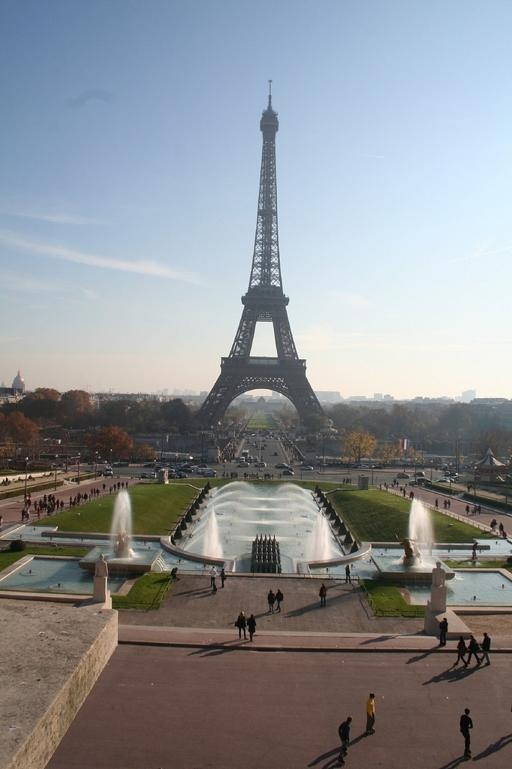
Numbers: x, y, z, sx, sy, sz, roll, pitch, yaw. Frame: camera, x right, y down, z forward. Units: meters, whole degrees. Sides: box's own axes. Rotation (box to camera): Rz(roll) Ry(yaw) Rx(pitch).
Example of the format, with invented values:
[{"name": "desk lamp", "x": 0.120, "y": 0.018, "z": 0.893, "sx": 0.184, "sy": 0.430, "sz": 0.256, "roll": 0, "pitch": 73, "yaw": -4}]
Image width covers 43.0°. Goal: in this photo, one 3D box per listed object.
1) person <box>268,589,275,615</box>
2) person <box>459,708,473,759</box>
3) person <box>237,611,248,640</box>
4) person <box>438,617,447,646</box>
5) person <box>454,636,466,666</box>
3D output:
[{"name": "person", "x": 0.530, "y": 7.476, "z": 22.509, "sx": 0.292, "sy": 0.635, "sz": 0.848, "roll": 0, "pitch": -2, "yaw": 2}, {"name": "person", "x": 4.216, "y": 6.924, "z": 13.116, "sx": 0.216, "sy": 0.784, "sz": 0.880, "roll": 0, "pitch": -2, "yaw": 17}, {"name": "person", "x": -0.445, "y": 7.159, "z": 19.545, "sx": 0.326, "sy": 0.749, "sz": 0.975, "roll": 0, "pitch": -2, "yaw": -2}, {"name": "person", "x": 5.493, "y": 7.280, "z": 19.143, "sx": 0.243, "sy": 0.633, "sz": 0.858, "roll": 0, "pitch": -2, "yaw": 15}, {"name": "person", "x": 5.555, "y": 7.206, "z": 17.635, "sx": 0.290, "sy": 0.632, "sz": 0.834, "roll": 0, "pitch": -2, "yaw": 19}]
